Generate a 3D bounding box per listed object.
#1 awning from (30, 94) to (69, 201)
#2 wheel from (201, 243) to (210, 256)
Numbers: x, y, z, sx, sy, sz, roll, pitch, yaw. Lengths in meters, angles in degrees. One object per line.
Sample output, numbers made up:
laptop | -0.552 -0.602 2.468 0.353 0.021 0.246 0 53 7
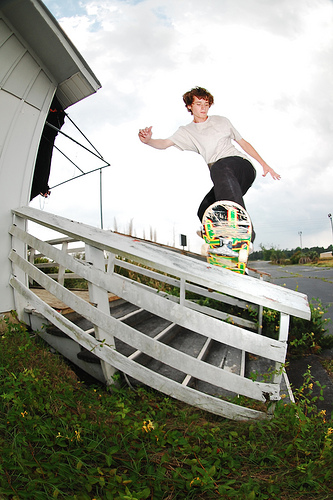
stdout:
awning | -2.401 -1.938 6.414 0.404 1.593 1.335 10 2 -24
wheel | 0.612 -0.011 4.917 0.072 0.188 0.148 -6 6 17
